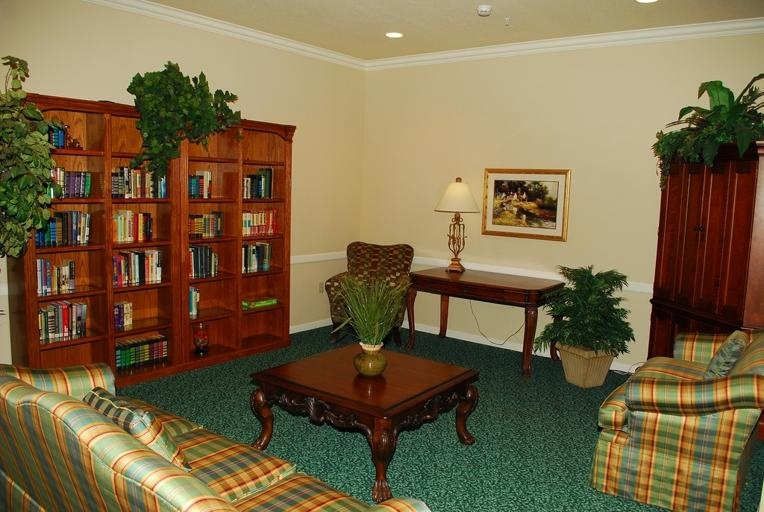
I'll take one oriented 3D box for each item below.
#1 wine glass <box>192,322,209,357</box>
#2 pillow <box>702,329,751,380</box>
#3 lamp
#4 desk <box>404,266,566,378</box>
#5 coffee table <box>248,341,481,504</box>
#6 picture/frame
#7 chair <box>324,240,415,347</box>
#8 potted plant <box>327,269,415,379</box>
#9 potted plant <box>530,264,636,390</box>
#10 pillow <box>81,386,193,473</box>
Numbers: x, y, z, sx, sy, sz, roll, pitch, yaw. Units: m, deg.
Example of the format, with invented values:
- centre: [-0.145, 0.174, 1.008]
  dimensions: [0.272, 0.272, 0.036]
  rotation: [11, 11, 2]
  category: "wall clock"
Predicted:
- centre: [-1.962, 0.901, 5.591]
  dimensions: [0.204, 0.347, 0.198]
  rotation: [2, -10, -29]
  category: "wine glass"
- centre: [2.559, 0.747, 3.861]
  dimensions: [0.179, 0.268, 0.328]
  rotation: [11, 11, 37]
  category: "pillow"
- centre: [0.909, -0.400, 6.405]
  dimensions: [0.484, 1.098, 0.643]
  rotation: [4, 13, 10]
  category: "lamp"
- centre: [1.196, 0.721, 6.227]
  dimensions: [1.656, 1.008, 0.919]
  rotation: [6, 10, 35]
  category: "desk"
- centre: [-0.261, 0.996, 3.935]
  dimensions: [1.177, 0.526, 1.189]
  rotation: [3, 5, 41]
  category: "coffee table"
- centre: [1.756, -0.621, 6.175]
  dimensions: [0.868, 0.732, 0.037]
  rotation: [7, 11, 32]
  category: "picture/frame"
- centre: [-0.103, 0.422, 6.278]
  dimensions: [1.175, 1.127, 1.140]
  rotation: [-1, 6, -43]
  category: "chair"
- centre: [-0.038, 0.561, 4.069]
  dimensions: [0.620, 0.800, 0.618]
  rotation: [4, -4, -27]
  category: "potted plant"
- centre: [2.105, 0.747, 5.438]
  dimensions: [0.809, 1.211, 0.771]
  rotation: [0, 2, 11]
  category: "potted plant"
- centre: [-1.282, 0.917, 2.730]
  dimensions: [0.622, 0.247, 0.271]
  rotation: [13, 19, 34]
  category: "pillow"
